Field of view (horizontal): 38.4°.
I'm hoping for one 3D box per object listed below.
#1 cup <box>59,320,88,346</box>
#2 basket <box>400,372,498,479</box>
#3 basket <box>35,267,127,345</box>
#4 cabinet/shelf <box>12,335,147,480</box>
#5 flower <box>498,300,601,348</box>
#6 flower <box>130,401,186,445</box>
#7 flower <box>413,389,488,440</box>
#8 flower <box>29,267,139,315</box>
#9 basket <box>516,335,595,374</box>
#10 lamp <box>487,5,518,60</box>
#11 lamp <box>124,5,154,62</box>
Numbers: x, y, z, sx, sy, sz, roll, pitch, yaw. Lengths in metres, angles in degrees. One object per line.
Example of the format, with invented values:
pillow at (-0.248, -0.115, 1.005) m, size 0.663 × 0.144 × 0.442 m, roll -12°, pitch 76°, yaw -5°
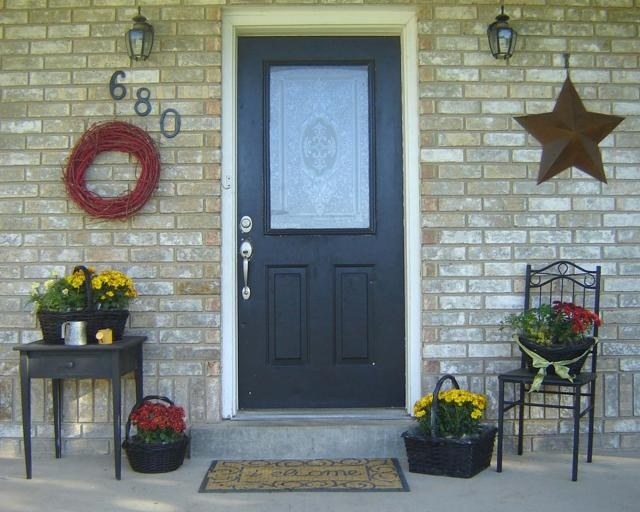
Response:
cup at (-1.416, 0.445, 5.304) m, size 0.144 × 0.122 × 0.103 m, roll 1°, pitch 0°, yaw -14°
basket at (0.705, 0.994, 5.587) m, size 0.641 × 0.549 × 0.660 m, roll -1°, pitch -3°, yaw 22°
basket at (-1.421, 0.287, 5.434) m, size 0.498 × 0.345 × 0.541 m, roll -2°, pitch -7°, yaw 30°
cabinet/shelf at (-1.657, 0.930, 5.400) m, size 0.921 × 0.725 × 0.824 m, roll 1°, pitch -16°, yaw -31°
flower at (1.372, 0.401, 5.489) m, size 0.415 × 0.146 × 0.307 m, roll -1°, pitch 2°, yaw 21°
flower at (-0.940, 0.981, 5.464) m, size 0.304 × 0.164 × 0.272 m, roll 2°, pitch 2°, yaw 4°
flower at (0.801, 0.949, 5.496) m, size 0.455 × 0.232 × 0.451 m, roll 5°, pitch -18°, yaw -11°
flower at (-1.345, 0.233, 5.661) m, size 0.574 × 0.165 × 0.524 m, roll -1°, pitch 0°, yaw 13°
basket at (1.395, 0.588, 5.432) m, size 0.426 × 0.211 × 0.236 m, roll 0°, pitch -1°, yaw 16°
lamp at (1.129, -1.409, 5.693) m, size 0.181 × 0.231 × 0.205 m, roll 1°, pitch 0°, yaw 10°
lamp at (-1.107, -1.390, 5.677) m, size 0.167 × 0.284 × 0.187 m, roll 1°, pitch 0°, yaw -8°
